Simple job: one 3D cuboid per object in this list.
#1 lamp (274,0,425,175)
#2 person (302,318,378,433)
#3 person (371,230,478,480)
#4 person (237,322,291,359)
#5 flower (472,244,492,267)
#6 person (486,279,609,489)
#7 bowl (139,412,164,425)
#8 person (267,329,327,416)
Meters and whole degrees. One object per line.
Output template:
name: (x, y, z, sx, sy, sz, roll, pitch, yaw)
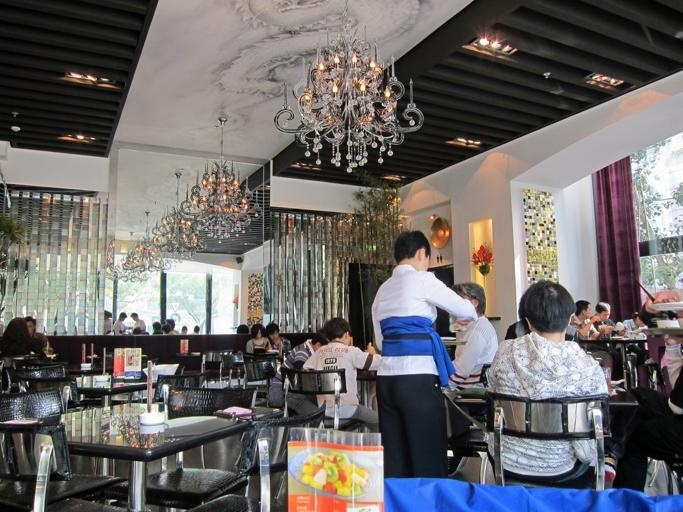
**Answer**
lamp: (0.111, -2.103, 6.243, 1.535, 2.377, 1.602, 0, -15, -4)
person: (0.032, 1.128, 4.704, 0.717, 1.124, 0.543, -3, -9, 33)
person: (0.483, 0.777, 3.261, 0.657, 1.849, 0.535, 1, 2, 29)
person: (-1.134, 1.264, 7.756, 0.904, 0.756, 0.509, 3, -23, -14)
flower: (2.564, -0.001, 9.385, 0.323, 0.407, 0.347, -2, -10, -1)
person: (1.129, 0.673, 2.920, 0.608, 1.024, 0.592, 4, 9, 20)
bowl: (-0.969, 0.826, 2.641, 0.074, 0.031, 0.077, 3, -8, 0)
person: (-0.430, 1.212, 5.161, 0.549, 0.996, 0.665, 2, 4, 21)
